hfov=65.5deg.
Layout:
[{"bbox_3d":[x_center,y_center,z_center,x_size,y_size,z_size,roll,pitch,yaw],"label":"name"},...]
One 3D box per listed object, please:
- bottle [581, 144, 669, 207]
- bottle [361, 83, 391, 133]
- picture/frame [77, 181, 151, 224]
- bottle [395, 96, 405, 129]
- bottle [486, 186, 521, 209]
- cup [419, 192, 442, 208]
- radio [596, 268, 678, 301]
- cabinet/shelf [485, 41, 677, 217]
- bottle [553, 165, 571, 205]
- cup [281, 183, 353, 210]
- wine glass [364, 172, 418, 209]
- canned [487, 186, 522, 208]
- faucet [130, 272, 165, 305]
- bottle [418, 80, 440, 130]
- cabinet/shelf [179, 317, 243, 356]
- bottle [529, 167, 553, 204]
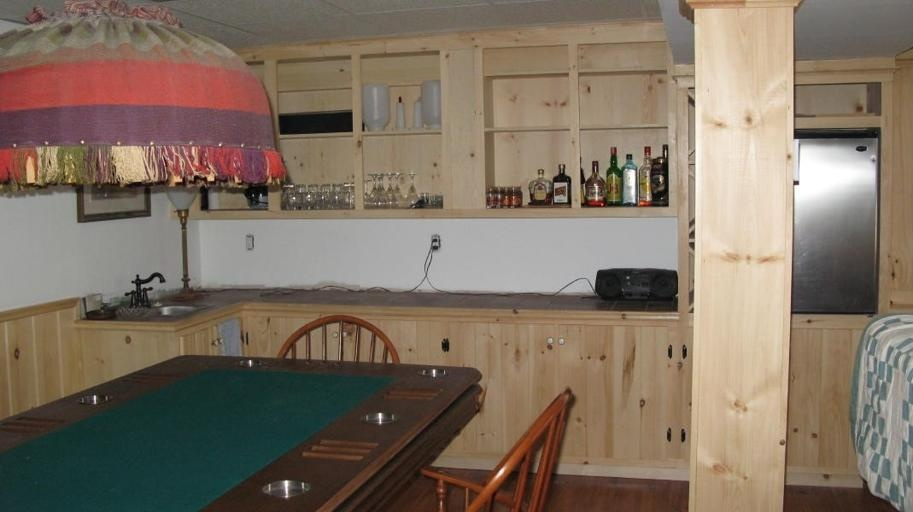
[{"bbox_3d":[1.316,-0.574,5.194,0.439,0.422,0.244,-1,4,10],"label":"bottle"},{"bbox_3d":[-0.630,-1.136,5.477,0.207,0.344,0.129,-2,4,1],"label":"bottle"},{"bbox_3d":[-2.556,-0.430,5.302,0.592,0.281,0.020,-2,-2,12],"label":"picture/frame"},{"bbox_3d":[-0.439,-1.118,5.547,0.071,0.275,0.194,-2,4,-5],"label":"bottle"},{"bbox_3d":[0.350,-0.429,5.325,0.307,0.170,0.160,1,5,12],"label":"bottle"},{"bbox_3d":[-0.205,-0.426,5.513,0.175,0.117,0.264,-2,3,-4],"label":"cup"},{"bbox_3d":[1.355,0.206,5.241,0.585,0.205,0.210,-1,-5,31],"label":"radio"},{"bbox_3d":[0.974,-0.951,5.267,1.486,1.181,0.406,-1,-2,13],"label":"cabinet/shelf"},{"bbox_3d":[0.779,-0.524,5.278,0.126,0.302,0.160,-2,4,-6],"label":"bottle"},{"bbox_3d":[-1.095,-0.459,5.618,0.569,0.204,0.158,0,4,16],"label":"cup"},{"bbox_3d":[-0.510,-0.515,5.597,0.437,0.296,0.325,-2,3,-3],"label":"wine glass"},{"bbox_3d":[0.354,-0.435,5.340,0.259,0.164,0.173,-1,3,2],"label":"canned"},{"bbox_3d":[-2.358,0.269,5.357,0.266,0.240,0.290,-1,6,-4],"label":"faucet"},{"bbox_3d":[-0.204,-1.146,5.395,0.089,0.351,0.233,-5,5,-38],"label":"bottle"},{"bbox_3d":[-1.732,0.596,5.075,0.281,0.333,0.394,1,6,18],"label":"cabinet/shelf"},{"bbox_3d":[0.637,-0.519,5.390,0.171,0.277,0.227,-1,4,6],"label":"bottle"}]
